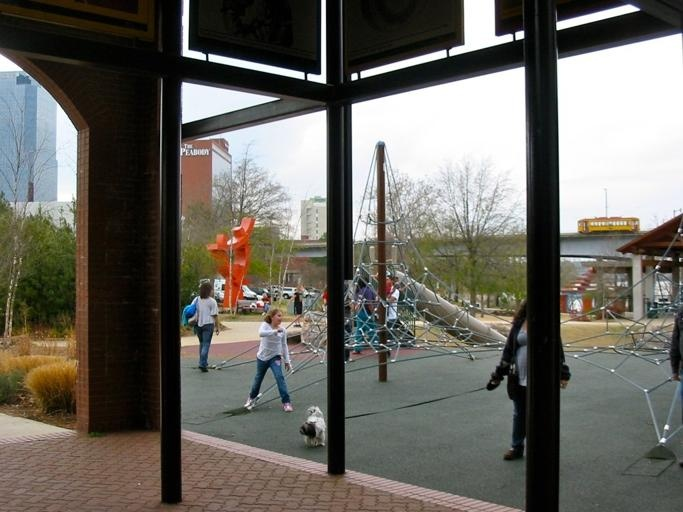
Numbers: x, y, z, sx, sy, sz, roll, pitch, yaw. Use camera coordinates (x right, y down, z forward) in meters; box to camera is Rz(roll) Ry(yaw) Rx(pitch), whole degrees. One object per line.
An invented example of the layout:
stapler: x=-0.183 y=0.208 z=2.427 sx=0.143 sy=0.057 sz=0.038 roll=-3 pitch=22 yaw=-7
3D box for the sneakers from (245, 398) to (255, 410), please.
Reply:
sneakers: x=-1.494 y=2.402 z=10.383 sx=0.084 sy=0.110 sz=0.254 roll=11 pitch=-14 yaw=3

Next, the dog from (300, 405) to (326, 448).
dog: x=-0.375 y=2.268 z=8.501 sx=0.303 sy=0.516 sz=0.384 roll=-1 pitch=0 yaw=1

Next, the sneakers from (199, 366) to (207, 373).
sneakers: x=-3.032 y=2.460 z=14.018 sx=0.171 sy=0.133 sz=0.297 roll=-1 pitch=0 yaw=-13

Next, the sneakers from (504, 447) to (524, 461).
sneakers: x=2.088 y=2.422 z=7.815 sx=0.285 sy=0.127 sz=0.107 roll=6 pitch=-12 yaw=-24
